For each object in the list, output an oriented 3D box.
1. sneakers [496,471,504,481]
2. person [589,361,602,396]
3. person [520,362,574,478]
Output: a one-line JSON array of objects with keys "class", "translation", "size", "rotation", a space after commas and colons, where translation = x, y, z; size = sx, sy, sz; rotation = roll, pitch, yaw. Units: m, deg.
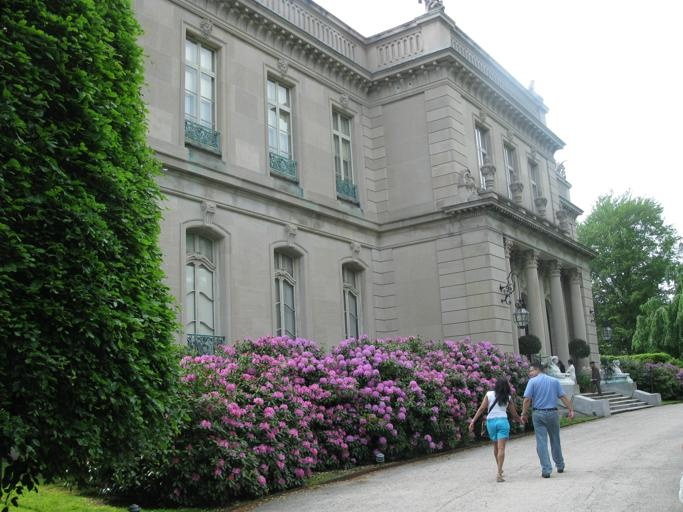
[{"class": "sneakers", "translation": [2.794, 3.894, 11.235], "size": [0.094, 0.144, 0.306], "rotation": [-2, -6, 18]}, {"class": "person", "translation": [10.932, 5.270, 27.501], "size": [0.340, 1.398, 0.902], "rotation": [-9, -16, 19]}, {"class": "person", "translation": [3.756, 2.949, 11.723], "size": [0.899, 2.088, 0.717], "rotation": [6, -18, -32]}]
